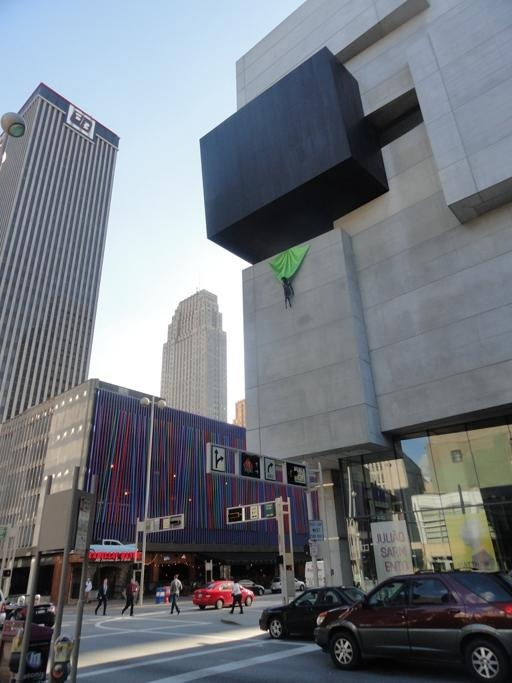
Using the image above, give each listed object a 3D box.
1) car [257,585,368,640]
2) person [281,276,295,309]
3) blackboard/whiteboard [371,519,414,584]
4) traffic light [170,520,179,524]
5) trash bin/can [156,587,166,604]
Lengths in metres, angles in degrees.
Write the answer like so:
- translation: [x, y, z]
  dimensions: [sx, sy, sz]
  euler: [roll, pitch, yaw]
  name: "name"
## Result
- translation: [1.569, 7.506, 11.513]
  dimensions: [2.937, 1.390, 1.326]
  euler: [-11, -42, 23]
  name: "car"
- translation: [1.815, -2.914, 24.362]
  dimensions: [0.215, 2.045, 0.780]
  euler: [14, -29, -37]
  name: "person"
- translation: [6.093, 9.380, 18.931]
  dimensions: [1.643, 0.300, 3.040]
  euler: [-15, 19, 17]
  name: "blackboard/whiteboard"
- translation: [-5.721, 12.632, 29.789]
  dimensions: [0.914, 0.311, 0.085]
  euler: [-25, -30, 35]
  name: "traffic light"
- translation: [-7.273, 19.237, 32.291]
  dimensions: [0.757, 1.069, 0.836]
  euler: [-2, -24, -7]
  name: "trash bin/can"
